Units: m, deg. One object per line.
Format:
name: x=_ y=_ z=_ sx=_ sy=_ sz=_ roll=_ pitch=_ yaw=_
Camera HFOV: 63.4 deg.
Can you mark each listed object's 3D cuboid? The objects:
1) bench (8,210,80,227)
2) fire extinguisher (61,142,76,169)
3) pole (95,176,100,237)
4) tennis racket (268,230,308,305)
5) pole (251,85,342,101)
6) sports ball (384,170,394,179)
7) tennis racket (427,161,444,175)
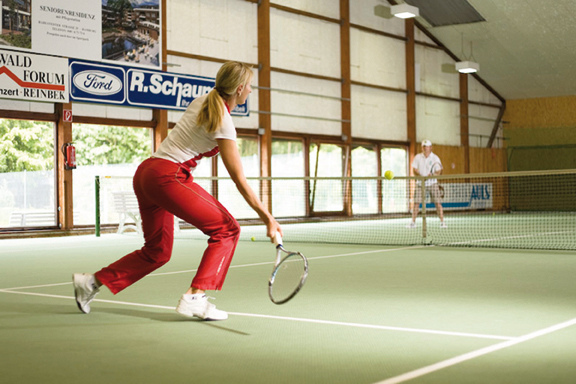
bench: x=-6.352 y=0.669 z=11.552 sx=0.966 sy=0.337 sz=0.134 roll=-1 pitch=1 yaw=-18
fire extinguisher: x=-5.467 y=-0.906 z=11.611 sx=0.319 sy=0.651 sz=0.193 roll=-1 pitch=1 yaw=-32
pole: x=-4.182 y=0.321 z=10.212 sx=0.063 sy=1.298 sz=0.400 roll=-1 pitch=1 yaw=-23
tennis racket: x=-0.023 y=0.732 z=4.963 sx=0.451 sy=0.083 sz=1.084 roll=-30 pitch=32 yaw=18
pole: x=0.408 y=-3.296 z=15.545 sx=3.575 sy=0.128 sz=0.248 roll=-1 pitch=1 yaw=-35
sports ball: x=1.849 y=-0.311 z=8.486 sx=0.177 sy=0.124 sz=0.179 roll=-1 pitch=5 yaw=0
tennis racket: x=3.391 y=-0.557 z=10.600 sx=0.112 sy=0.330 sz=0.234 roll=10 pitch=-6 yaw=-7
